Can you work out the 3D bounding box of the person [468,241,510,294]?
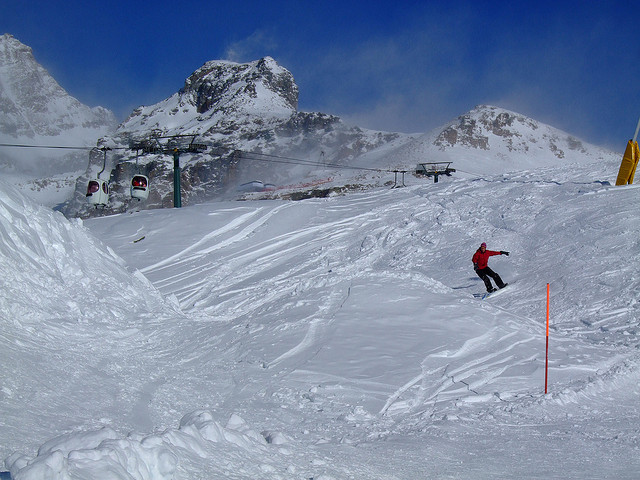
[{"bbox_3d":[6.233,1.032,21.257,1.481,1.451,0.880,-32,3,-29],"label":"person"}]
